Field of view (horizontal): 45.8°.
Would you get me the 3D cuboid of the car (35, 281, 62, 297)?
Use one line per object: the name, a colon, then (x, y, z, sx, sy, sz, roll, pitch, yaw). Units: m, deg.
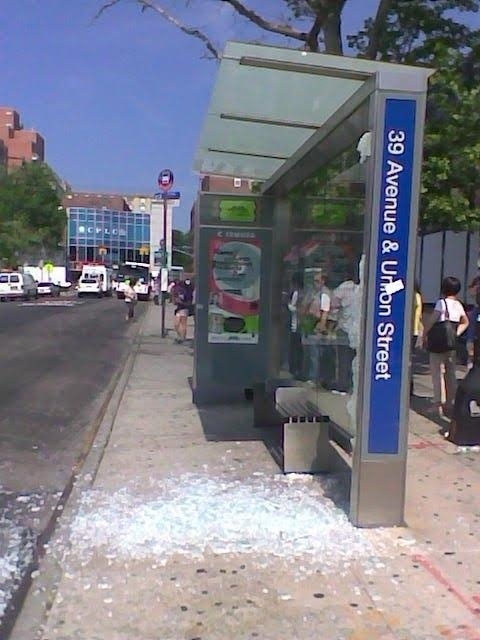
car: (-18.158, -2.862, 54.055, 1.751, 1.378, 4.662, 0, 1, -11)

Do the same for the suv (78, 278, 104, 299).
suv: (-13.550, -3.004, 51.485, 1.264, 1.179, 2.592, 0, 12, -9)

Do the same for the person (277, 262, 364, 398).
person: (0.698, 0.096, 4.943, 0.395, 1.169, 1.303, 2, -3, -5)

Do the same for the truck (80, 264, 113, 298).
truck: (-13.899, -3.512, 53.099, 1.724, 2.110, 5.640, 1, 13, -6)
